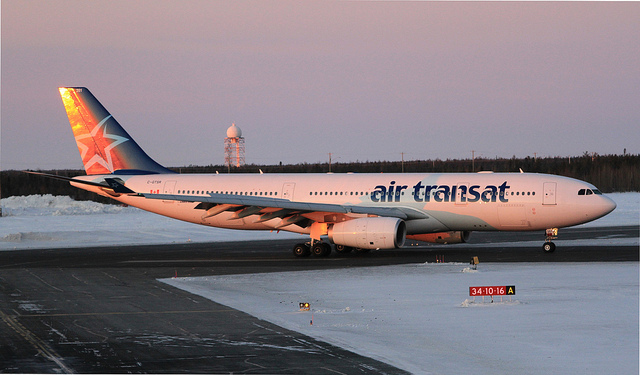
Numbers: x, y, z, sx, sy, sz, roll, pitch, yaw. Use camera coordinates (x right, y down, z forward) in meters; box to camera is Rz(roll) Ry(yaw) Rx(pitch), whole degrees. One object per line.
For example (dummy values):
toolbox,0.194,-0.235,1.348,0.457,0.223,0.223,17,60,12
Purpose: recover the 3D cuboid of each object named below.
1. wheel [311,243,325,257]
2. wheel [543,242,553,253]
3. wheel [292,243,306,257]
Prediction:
wheel,-0.113,3.763,59.211,1.112,0.744,0.349,-2,-9,8
wheel,13.615,3.602,58.286,0.545,0.519,0.777,2,11,10
wheel,-1.300,3.832,59.340,1.154,0.769,0.363,0,-5,8
